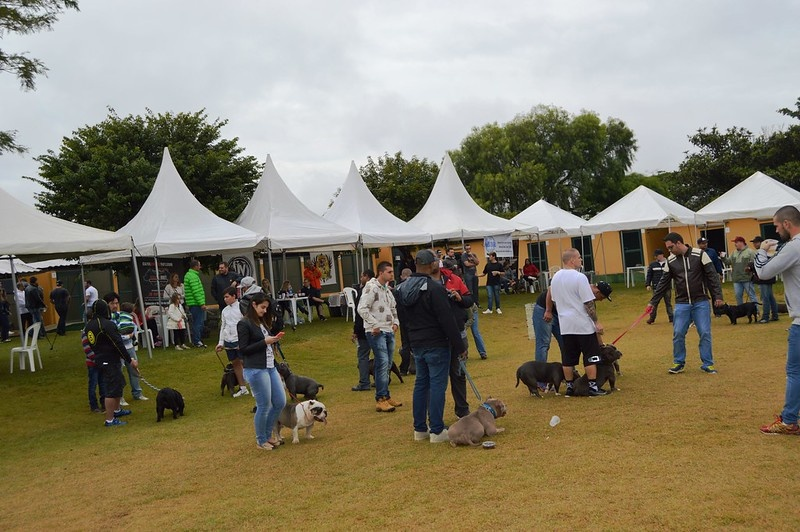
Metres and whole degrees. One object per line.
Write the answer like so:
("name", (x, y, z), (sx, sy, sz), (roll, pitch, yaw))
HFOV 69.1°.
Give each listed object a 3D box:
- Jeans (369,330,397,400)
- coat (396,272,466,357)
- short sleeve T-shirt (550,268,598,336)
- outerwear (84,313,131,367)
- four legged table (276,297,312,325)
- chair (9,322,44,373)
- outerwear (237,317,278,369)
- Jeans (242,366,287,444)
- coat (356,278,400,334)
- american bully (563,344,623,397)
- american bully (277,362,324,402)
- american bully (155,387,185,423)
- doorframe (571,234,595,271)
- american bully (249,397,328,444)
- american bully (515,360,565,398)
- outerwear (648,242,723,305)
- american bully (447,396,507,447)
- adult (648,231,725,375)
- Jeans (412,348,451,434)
("Jeans", (-0.344, 1.796, 10.708), (0.387, 1.295, 0.485), (-3, 7, 20))
("coat", (0.451, 0.744, 8.666), (0.924, 1.248, 0.450), (-4, 7, 9))
("short sleeve T-shirt", (3.044, 0.600, 10.299), (0.616, 1.087, 0.861), (-1, -3, -42))
("outerwear", (-5.564, 1.404, 11.033), (0.819, 0.951, 0.619), (-18, 2, 24))
("four legged table", (-3.581, 1.514, 19.952), (1.053, 0.799, 1.074), (-2, -4, 31))
("chair", (-9.628, 2.106, 14.919), (0.768, 1.133, 0.754), (-5, -1, 16))
("outerwear", (-2.226, 1.188, 8.937), (0.491, 0.811, 0.393), (-8, 7, -23))
("Jeans", (-2.073, 2.157, 9.058), (0.583, 1.312, 0.393), (-9, 7, -25))
("coat", (-0.408, 0.769, 10.713), (0.651, 1.148, 1.209), (-7, -6, 33))
("american bully", (3.540, 1.953, 10.468), (1.127, 0.802, 0.460), (-25, 2, -8))
("american bully", (-1.946, 2.263, 11.151), (1.093, 0.702, 0.379), (13, -12, -27))
("american bully", (-4.607, 2.749, 11.583), (0.440, 0.664, 1.261), (-3, -12, -14))
("doorframe", (9.734, -0.558, 31.028), (1.073, 2.076, 0.093), (-6, 1, -10))
("american bully", (-1.745, 2.527, 9.508), (1.205, 0.681, 0.452), (-6, 1, 20))
("american bully", (2.640, 2.050, 10.626), (1.261, 0.662, 0.318), (-1, -6, -19))
("outerwear", (5.368, 0.152, 10.958), (0.662, 1.046, 1.319), (-16, 7, -42))
("american bully", (1.214, 2.374, 8.885), (1.172, 0.563, 0.607), (-5, -5, -39))
("adult", (5.335, 0.690, 10.890), (1.264, 2.552, 0.750), (-3, -11, 34))
("Jeans", (0.469, 1.868, 8.737), (0.640, 1.390, 0.276), (-1, 8, 32))
